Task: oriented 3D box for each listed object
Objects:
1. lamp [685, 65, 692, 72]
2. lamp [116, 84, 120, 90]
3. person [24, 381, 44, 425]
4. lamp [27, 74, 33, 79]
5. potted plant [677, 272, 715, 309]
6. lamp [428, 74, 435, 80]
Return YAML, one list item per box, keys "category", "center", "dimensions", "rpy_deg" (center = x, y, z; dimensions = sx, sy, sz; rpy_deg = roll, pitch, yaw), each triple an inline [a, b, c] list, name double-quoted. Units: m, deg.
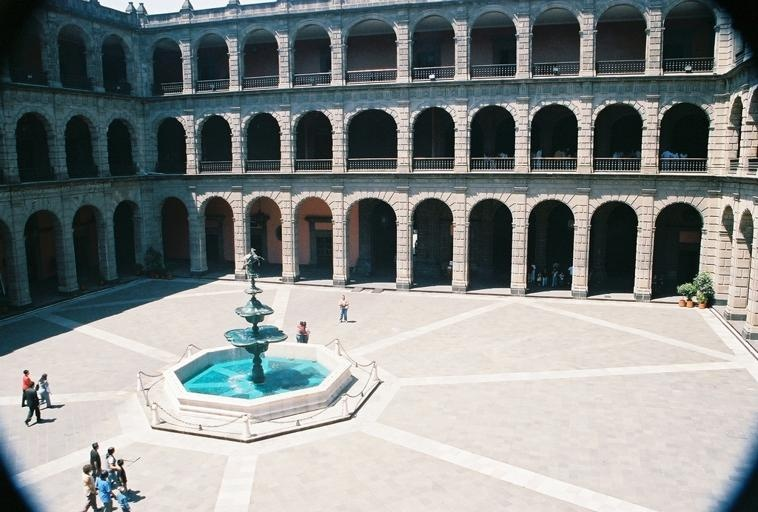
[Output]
- category: "lamp"
  center: [20.056, -12.104, 45.613]
  dimensions: [0.379, 0.437, 0.801]
  rpy_deg: [5, 14, 21]
- category: "lamp"
  center: [-19.741, -12.792, 53.517]
  dimensions: [0.410, 0.385, 0.258]
  rpy_deg: [6, 15, 26]
- category: "person"
  center: [-16.288, 6.874, 33.047]
  dimensions: [0.698, 1.738, 1.145]
  rpy_deg: [-7, 15, -25]
- category: "lamp"
  center: [-23.914, -12.300, 48.260]
  dimensions: [0.517, 0.125, 0.538]
  rpy_deg: [-6, 33, -18]
- category: "potted plant"
  center: [20.893, 2.194, 46.356]
  dimensions: [2.166, 2.357, 2.414]
  rpy_deg: [-14, 17, -35]
- category: "lamp"
  center: [3.632, -12.217, 48.065]
  dimensions: [0.388, 0.249, 0.353]
  rpy_deg: [-6, 14, -37]
